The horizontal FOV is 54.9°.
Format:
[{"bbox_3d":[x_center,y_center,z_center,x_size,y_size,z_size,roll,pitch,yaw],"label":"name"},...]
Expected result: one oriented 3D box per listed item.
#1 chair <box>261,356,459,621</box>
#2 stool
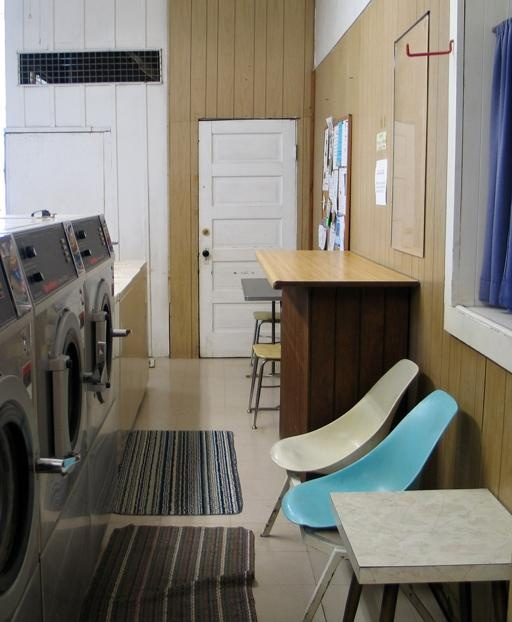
[{"bbox_3d":[0.321,0.475,1.602,0.445,0.941,0.885,1,3,1],"label":"chair"},{"bbox_3d":[0.064,0.473,3.892,0.146,0.738,0.572,1,6,1],"label":"stool"}]
